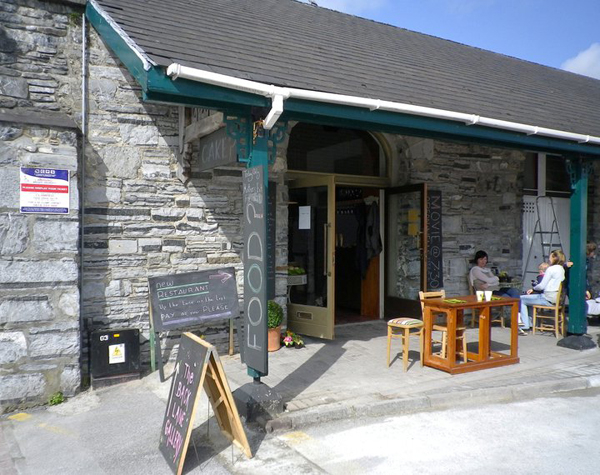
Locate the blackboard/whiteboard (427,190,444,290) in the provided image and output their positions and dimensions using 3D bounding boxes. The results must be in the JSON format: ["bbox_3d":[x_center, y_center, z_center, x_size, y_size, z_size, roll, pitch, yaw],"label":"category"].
[{"bbox_3d":[2.490,0.048,8.462,0.548,1.860,0.265,-6,8,-41],"label":"blackboard/whiteboard"}]

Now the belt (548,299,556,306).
[{"bbox_3d":[4.359,1.124,7.868,0.137,0.129,0.032,4,2,39],"label":"belt"}]

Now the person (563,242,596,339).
[{"bbox_3d":[5.722,0.844,9.224,0.409,1.287,3.191,4,7,34],"label":"person"}]

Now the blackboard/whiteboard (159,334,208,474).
[{"bbox_3d":[-1.054,1.456,4.080,0.413,1.026,0.756,-3,7,-23],"label":"blackboard/whiteboard"}]

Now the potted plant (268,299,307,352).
[{"bbox_3d":[-0.337,1.364,6.859,0.819,0.790,0.573,2,-4,6],"label":"potted plant"}]

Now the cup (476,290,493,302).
[{"bbox_3d":[2.576,0.827,6.347,0.190,0.127,0.156,3,-6,9],"label":"cup"}]
